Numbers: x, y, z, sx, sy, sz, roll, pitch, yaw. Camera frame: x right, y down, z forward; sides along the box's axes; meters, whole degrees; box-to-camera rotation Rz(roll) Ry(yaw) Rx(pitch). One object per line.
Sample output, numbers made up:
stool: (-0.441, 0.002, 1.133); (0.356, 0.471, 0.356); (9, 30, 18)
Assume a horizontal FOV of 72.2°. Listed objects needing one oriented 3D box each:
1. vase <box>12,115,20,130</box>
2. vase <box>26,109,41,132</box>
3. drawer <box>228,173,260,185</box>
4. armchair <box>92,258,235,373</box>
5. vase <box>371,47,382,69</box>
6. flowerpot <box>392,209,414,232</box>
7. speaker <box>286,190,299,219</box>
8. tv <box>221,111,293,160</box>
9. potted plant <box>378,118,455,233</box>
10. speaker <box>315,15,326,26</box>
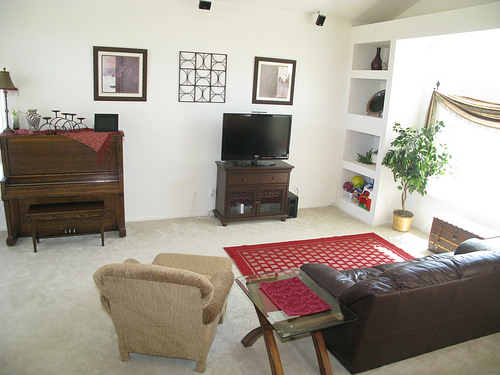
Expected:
vase: (-3.113, -0.866, 4.559); (0.071, 0.189, 0.103); (-7, 17, -31)
vase: (-2.903, -0.900, 4.606); (0.135, 0.286, 0.204); (-9, 18, -37)
drawer: (-0.110, -0.132, 5.391); (0.326, 0.166, 0.208); (-1, 13, -15)
armchair: (-0.659, 1.001, 3.158); (1.107, 1.023, 0.909); (5, 22, 7)
vase: (2.163, -2.185, 5.790); (0.225, 0.361, 0.172); (-9, 18, -37)
flowerpot: (2.489, 0.549, 5.654); (0.258, 0.231, 0.296); (0, 21, -5)
speaker: (0.723, 0.309, 5.905); (0.187, 0.432, 0.266); (4, 14, 8)
tv: (0.108, -0.808, 5.459); (1.157, 0.735, 0.053); (-3, 15, -19)
potted plant: (2.617, -0.235, 5.360); (1.088, 2.117, 1.206); (10, 18, 31)
speaker: (1.129, -2.713, 5.547); (0.169, 0.173, 0.093); (9, 46, -13)
